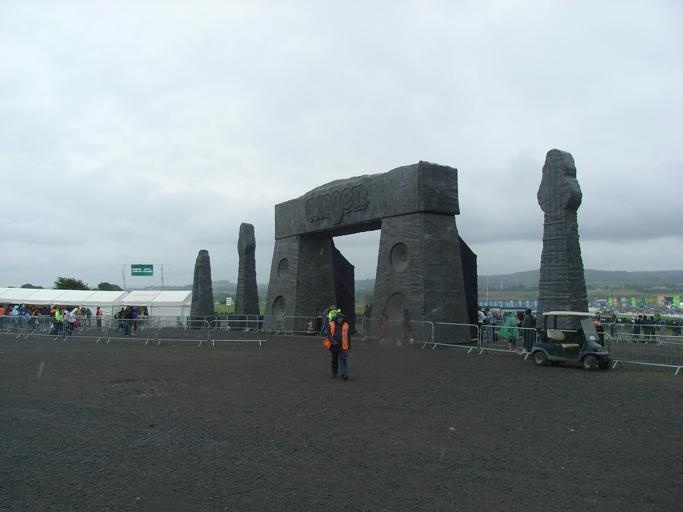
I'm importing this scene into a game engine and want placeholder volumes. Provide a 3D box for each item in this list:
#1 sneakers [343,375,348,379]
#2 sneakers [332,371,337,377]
[{"bbox_3d":[0.142,3.504,14.131,0.081,0.137,0.187,-6,-10,32],"label":"sneakers"},{"bbox_3d":[-0.219,3.587,14.824,0.102,0.212,0.138,1,2,32],"label":"sneakers"}]
